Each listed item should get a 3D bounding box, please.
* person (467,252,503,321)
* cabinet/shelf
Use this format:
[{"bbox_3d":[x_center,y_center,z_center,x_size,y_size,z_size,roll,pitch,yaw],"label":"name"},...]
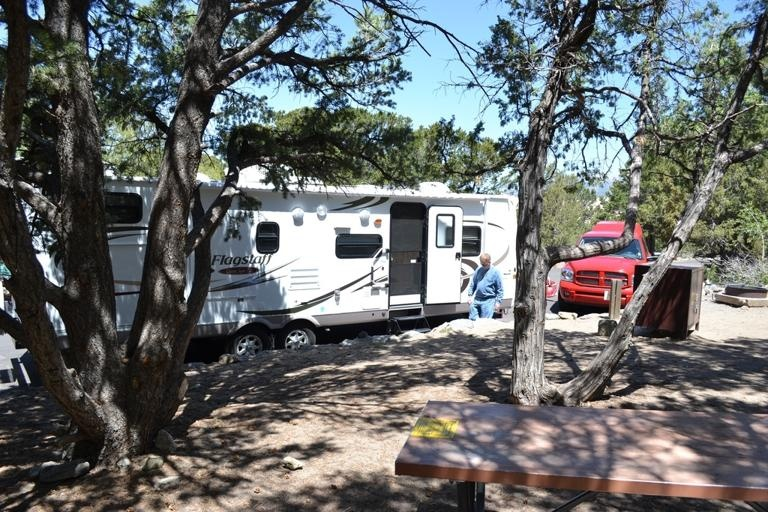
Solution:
[{"bbox_3d":[2.222,0.647,13.224,0.670,1.500,0.695,0,8,8],"label":"person"},{"bbox_3d":[4.828,0.788,10.369,0.685,1.061,1.224,2,5,34],"label":"cabinet/shelf"}]
